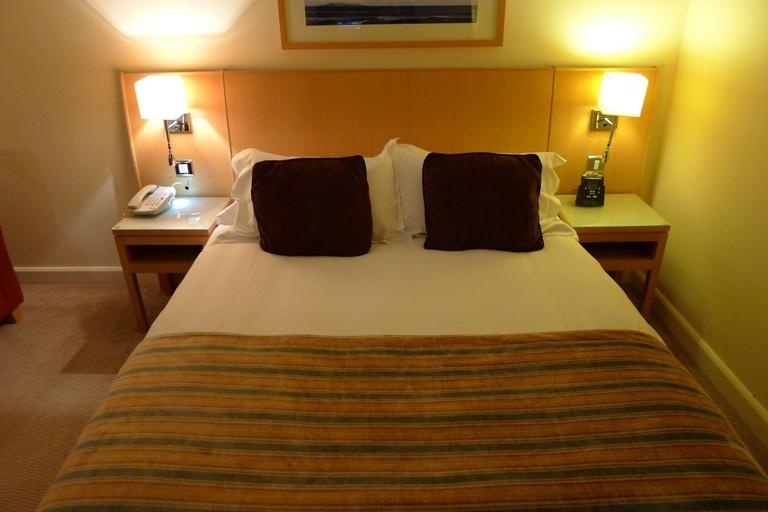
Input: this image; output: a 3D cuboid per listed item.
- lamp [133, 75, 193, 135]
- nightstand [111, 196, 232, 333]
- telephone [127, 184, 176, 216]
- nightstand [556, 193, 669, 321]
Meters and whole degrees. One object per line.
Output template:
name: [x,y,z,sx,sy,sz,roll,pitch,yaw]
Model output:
lamp: [-1.426,-0.978,3.407,0.330,0.389,0.320,1,26,1]
nightstand: [-1.627,0.066,3.671,0.692,0.697,0.674,5,20,-7]
telephone: [-1.559,-0.376,3.544,0.205,0.111,0.267,-3,36,11]
nightstand: [1.581,0.084,3.625,0.614,0.704,0.606,8,19,30]
